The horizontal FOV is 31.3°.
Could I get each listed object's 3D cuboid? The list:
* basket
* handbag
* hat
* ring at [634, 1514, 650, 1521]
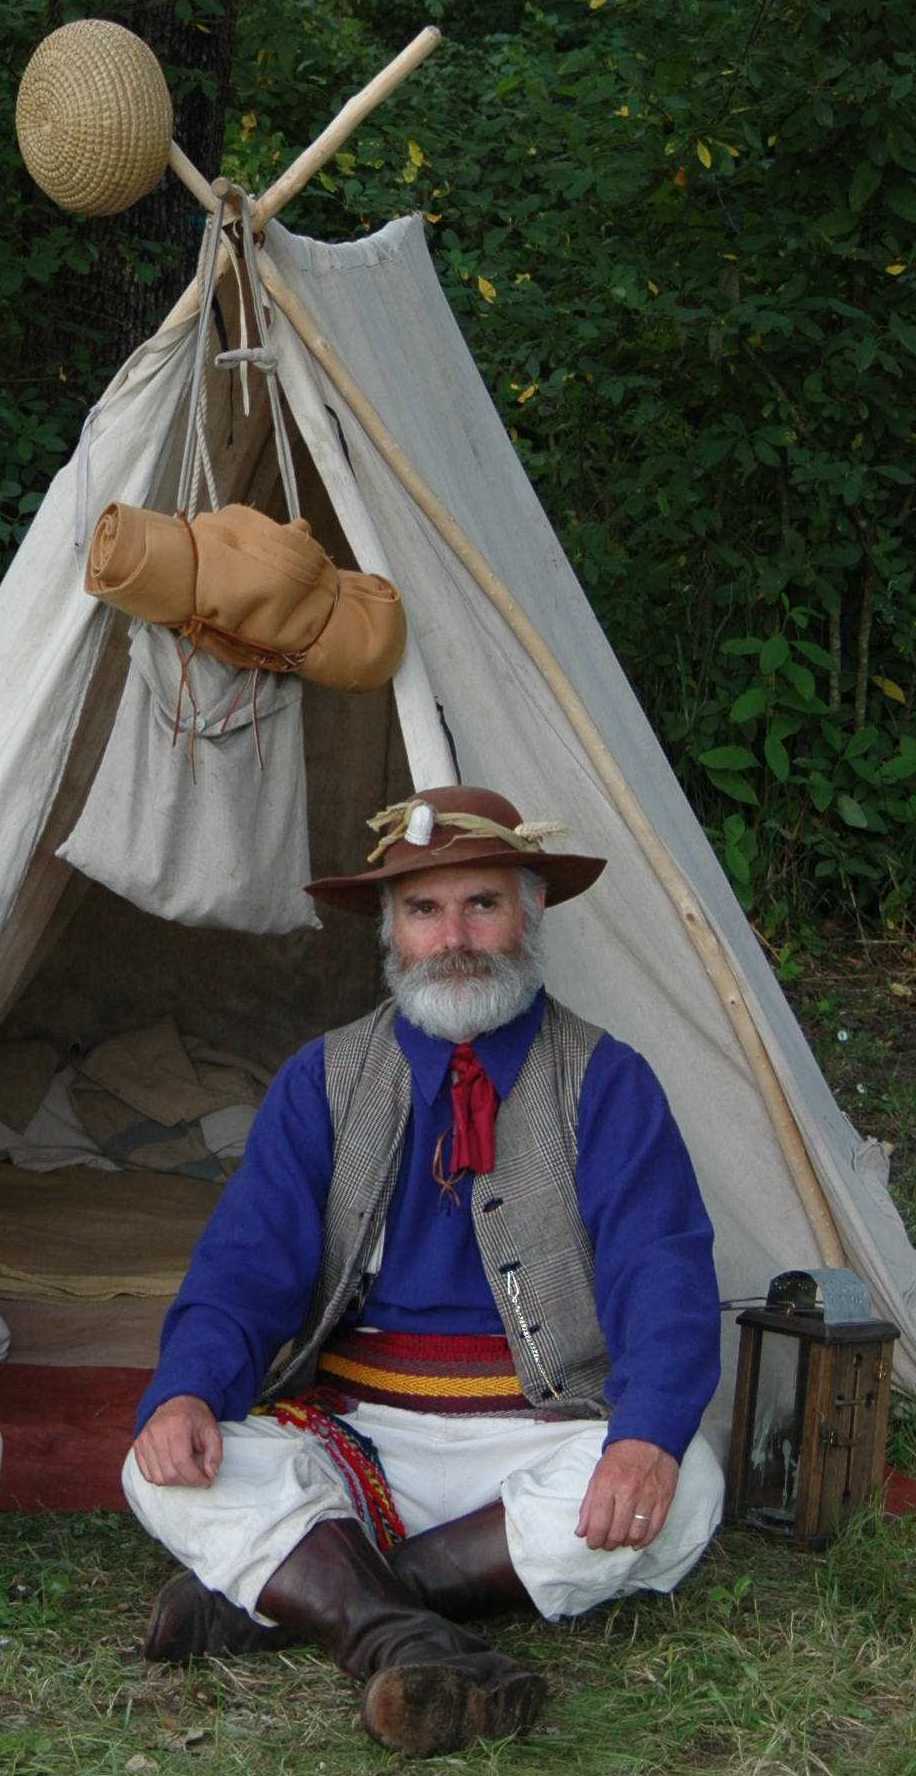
[{"bbox_3d":[-0.595,-1.325,2.927,0.312,0.305,0.160,-6,4,32],"label":"basket"},{"bbox_3d":[-0.478,-0.212,3.066,0.530,0.642,0.183,13,35,-1],"label":"handbag"},{"bbox_3d":[0.049,-0.110,2.638,0.379,0.145,0.366,0,23,28],"label":"hat"},{"bbox_3d":[0.237,0.810,2.115,0.016,0.011,0.004,-5,-26,9],"label":"ring"}]
